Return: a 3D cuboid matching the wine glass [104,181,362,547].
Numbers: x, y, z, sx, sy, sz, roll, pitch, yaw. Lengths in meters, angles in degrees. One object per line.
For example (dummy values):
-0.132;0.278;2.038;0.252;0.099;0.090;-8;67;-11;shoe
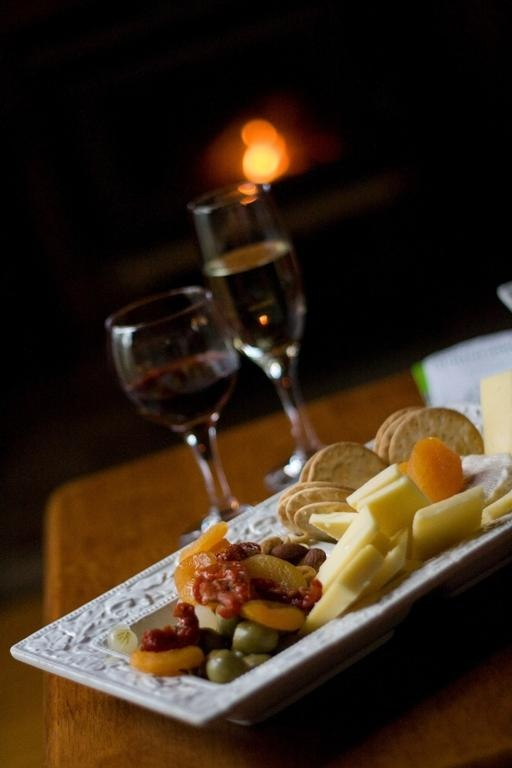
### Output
0.030;0.036;0.930;0.192;0.562;0.174;-28;14;24;wine glass
